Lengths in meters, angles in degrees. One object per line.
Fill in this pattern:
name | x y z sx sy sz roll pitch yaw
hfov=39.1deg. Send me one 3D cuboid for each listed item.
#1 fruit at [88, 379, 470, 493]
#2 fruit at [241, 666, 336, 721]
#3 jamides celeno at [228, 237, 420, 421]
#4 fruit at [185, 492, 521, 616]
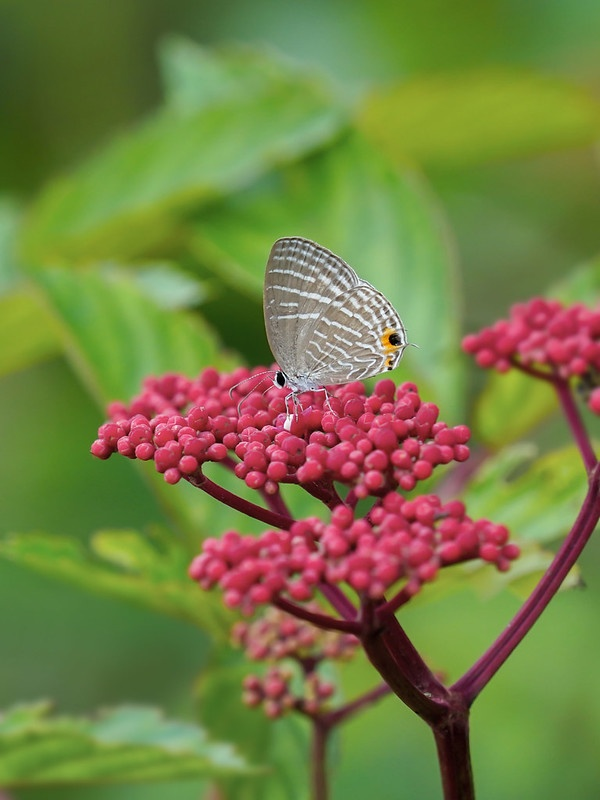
fruit | -0.030 0.034 0.775 0.284 0.044 0.161 1 16 14
fruit | -0.002 0.330 0.927 0.123 0.036 0.053 2 69 2
jamides celeno | 0.033 -0.065 0.960 0.216 0.208 0.165 -2 77 17
fruit | 0.040 0.120 0.673 0.206 0.038 0.118 -11 14 -8
